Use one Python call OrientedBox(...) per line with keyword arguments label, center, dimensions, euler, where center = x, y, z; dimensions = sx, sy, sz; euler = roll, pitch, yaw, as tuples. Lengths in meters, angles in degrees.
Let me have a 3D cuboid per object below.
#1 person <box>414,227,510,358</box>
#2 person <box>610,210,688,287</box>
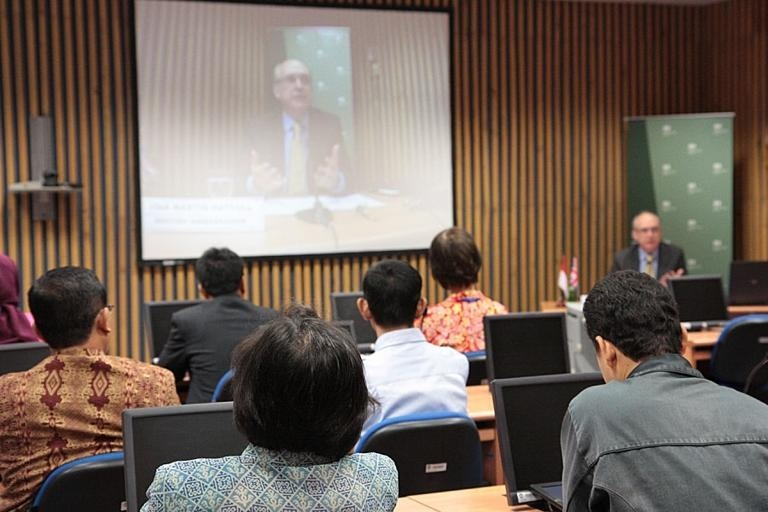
OrientedBox(label="person", center=(0.515, 0.223, 4.929), dimensions=(0.785, 0.923, 0.414), euler=(-4, 9, -14))
OrientedBox(label="person", center=(2.309, -0.076, 6.110), dimensions=(0.670, 0.801, 0.433), euler=(-1, -3, 9))
